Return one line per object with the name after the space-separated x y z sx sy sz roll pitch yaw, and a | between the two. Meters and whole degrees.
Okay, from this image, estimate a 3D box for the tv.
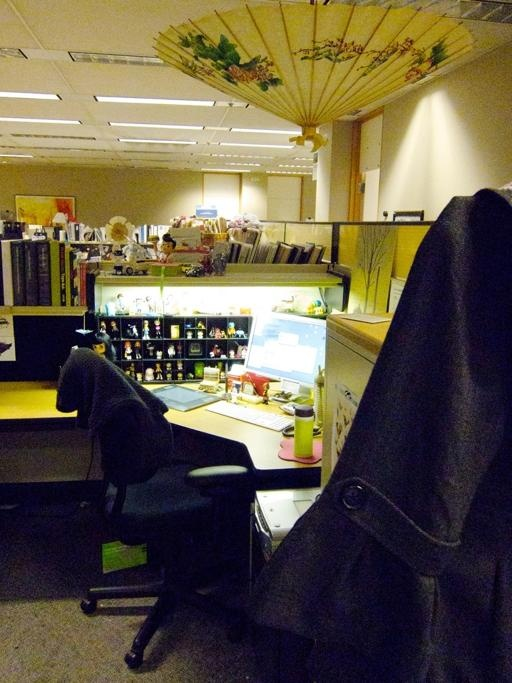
0.139 0.084 2.494 0.373 0.262 0.088 21 4 40 | tv

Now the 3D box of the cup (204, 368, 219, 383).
-0.225 0.179 2.767 0.066 0.058 0.035 6 16 10 | cup

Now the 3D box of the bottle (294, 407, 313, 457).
0.165 0.312 1.838 0.065 0.200 0.131 1 10 4 | bottle

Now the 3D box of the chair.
-0.372 0.533 1.943 0.595 1.025 0.544 -4 11 -22 | chair
